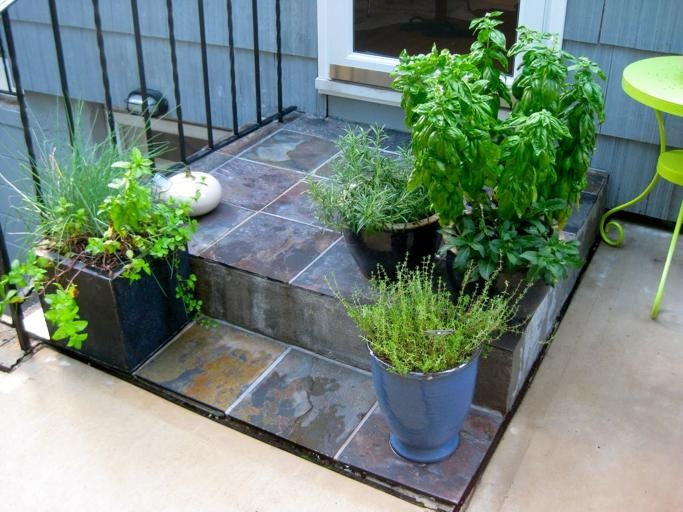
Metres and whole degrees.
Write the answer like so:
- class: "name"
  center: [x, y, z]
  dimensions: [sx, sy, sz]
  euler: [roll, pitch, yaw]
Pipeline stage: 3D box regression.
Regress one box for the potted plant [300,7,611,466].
- class: "potted plant"
  center: [0.497, -0.193, 2.080]
  dimensions: [1.134, 0.678, 1.758]
  euler: [6, 51, 11]
